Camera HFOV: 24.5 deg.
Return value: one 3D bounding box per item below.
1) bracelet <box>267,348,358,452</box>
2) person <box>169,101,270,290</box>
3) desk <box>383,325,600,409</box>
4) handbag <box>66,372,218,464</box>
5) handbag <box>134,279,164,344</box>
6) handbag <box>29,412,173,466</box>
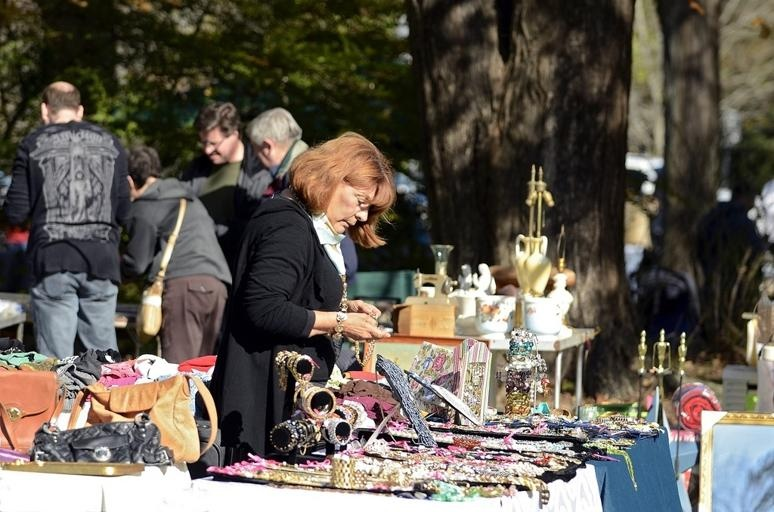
[{"bbox_3d":[-0.662,1.350,16.239,0.779,0.947,0.316,0,-6,-3],"label":"bracelet"},{"bbox_3d":[-1.795,-0.624,19.365,0.747,1.950,0.915,2,-1,-6],"label":"person"},{"bbox_3d":[0.957,1.098,17.814,1.410,0.487,0.850,-5,-27,8],"label":"desk"},{"bbox_3d":[-2.250,1.561,16.432,1.440,0.806,0.690,-7,-13,12],"label":"handbag"},{"bbox_3d":[-2.479,0.575,18.766,0.260,0.566,0.334,1,-6,-9],"label":"handbag"},{"bbox_3d":[-2.536,1.654,15.946,1.241,0.455,0.117,0,-6,0],"label":"handbag"}]
